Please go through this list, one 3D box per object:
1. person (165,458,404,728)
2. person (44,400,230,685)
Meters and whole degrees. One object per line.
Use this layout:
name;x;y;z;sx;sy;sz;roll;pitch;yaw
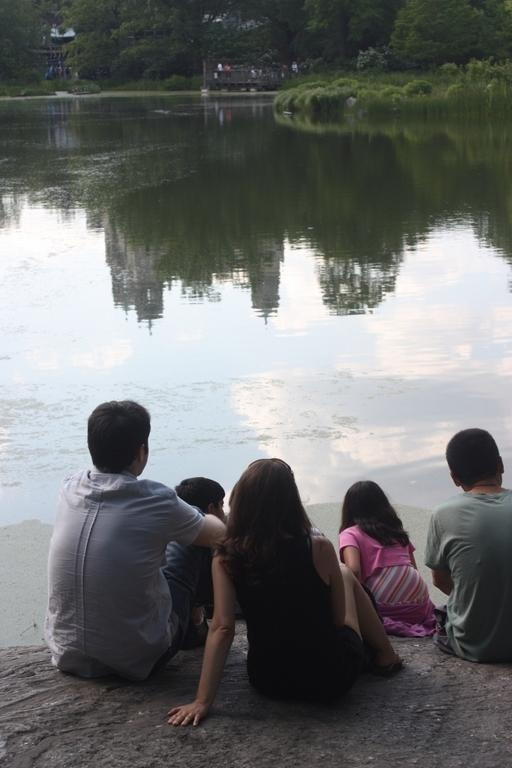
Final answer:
person;0.134;0.615;3.461;0.531;0.976;1.147;8;21;36
person;-0.413;0.691;3.554;0.469;1.260;0.736;1;8;21
